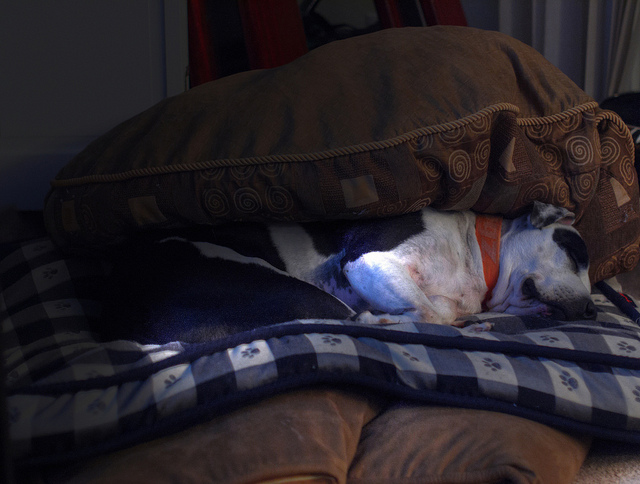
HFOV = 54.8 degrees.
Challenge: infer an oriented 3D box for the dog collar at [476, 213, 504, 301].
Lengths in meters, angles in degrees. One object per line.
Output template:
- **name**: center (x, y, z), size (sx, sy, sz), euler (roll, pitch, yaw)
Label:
- **dog collar**: center (0.511, 0.041, 1.865), size (0.053, 0.224, 0.094), euler (15, 24, 28)

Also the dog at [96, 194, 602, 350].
- **dog**: center (0.110, 0.085, 1.704), size (1.065, 0.447, 0.613), euler (1, -2, -2)

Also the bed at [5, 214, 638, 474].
- **bed**: center (-0.001, 0.286, 1.436), size (0.934, 0.269, 0.920), euler (-1, 19, -3)
